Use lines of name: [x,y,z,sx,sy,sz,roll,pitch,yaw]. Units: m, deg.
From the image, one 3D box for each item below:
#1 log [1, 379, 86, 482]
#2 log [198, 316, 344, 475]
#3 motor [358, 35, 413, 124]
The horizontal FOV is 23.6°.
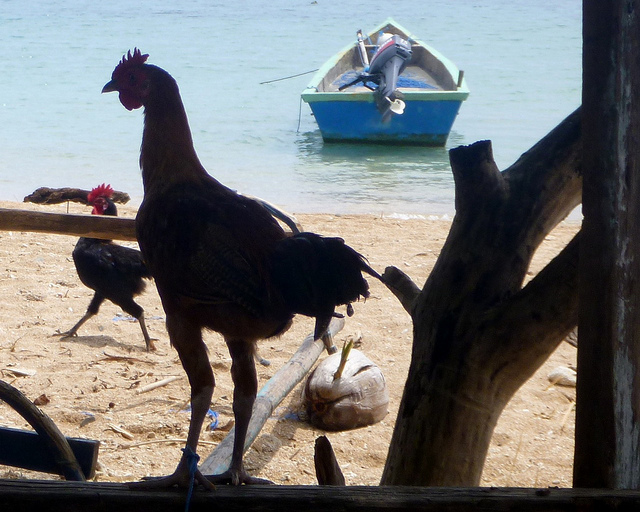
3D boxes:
log: [-6.865,4.471,38.383,2.179,2.309,0.346,7,15,18]
log: [-1.283,3.823,39.529,0.792,0.856,5.961,31,51,23]
motor: [2.443,-5.945,50.520,1.572,3.172,1.503,-23,36,-37]
